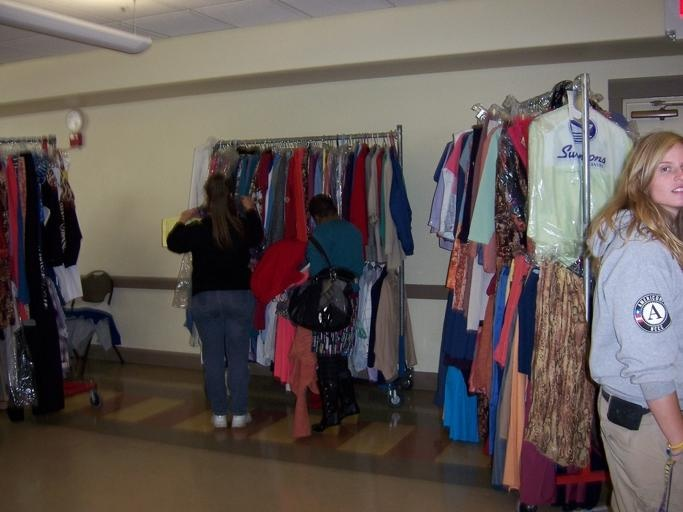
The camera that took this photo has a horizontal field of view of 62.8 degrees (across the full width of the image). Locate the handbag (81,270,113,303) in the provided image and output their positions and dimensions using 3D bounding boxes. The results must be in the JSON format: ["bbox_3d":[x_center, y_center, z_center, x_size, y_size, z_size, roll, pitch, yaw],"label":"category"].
[{"bbox_3d":[-2.868,0.322,6.699,0.315,0.421,0.436,-1,3,7],"label":"handbag"}]

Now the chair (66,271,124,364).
[{"bbox_3d":[-2.833,0.741,6.442,0.569,1.079,0.995,-2,7,-23],"label":"chair"}]

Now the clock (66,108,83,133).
[{"bbox_3d":[-3.237,-1.648,6.789,0.243,0.289,0.062,-2,3,16],"label":"clock"}]

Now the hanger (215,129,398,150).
[{"bbox_3d":[-0.339,-1.096,5.381,1.664,0.172,0.855,1,7,5],"label":"hanger"}]

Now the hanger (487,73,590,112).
[{"bbox_3d":[1.237,-0.964,3.485,0.283,0.203,0.459,-9,6,-39],"label":"hanger"}]
